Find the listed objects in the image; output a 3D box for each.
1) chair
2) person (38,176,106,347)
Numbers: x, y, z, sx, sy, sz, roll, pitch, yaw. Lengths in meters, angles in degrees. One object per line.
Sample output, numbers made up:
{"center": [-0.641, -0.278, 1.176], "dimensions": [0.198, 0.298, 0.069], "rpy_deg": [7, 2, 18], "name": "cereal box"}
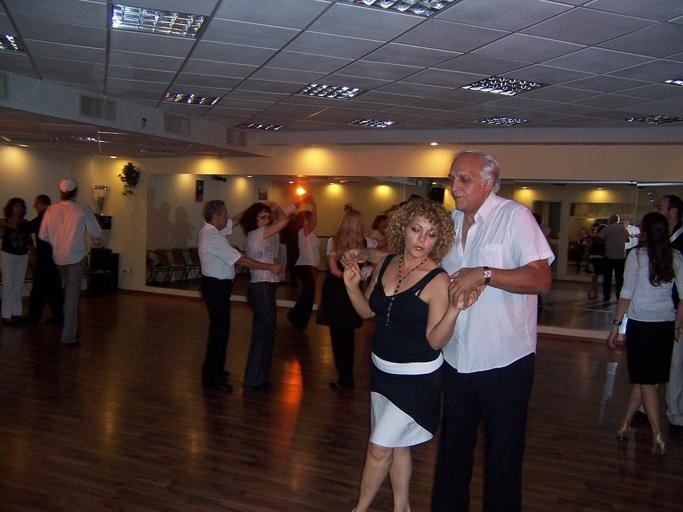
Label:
{"center": [-5.255, 0.355, 8.452], "dimensions": [1.045, 0.630, 0.354], "rpy_deg": [-2, 9, -20], "name": "chair"}
{"center": [-4.084, 0.045, 7.070], "dimensions": [0.643, 2.384, 0.878], "rpy_deg": [-2, 7, -42], "name": "person"}
